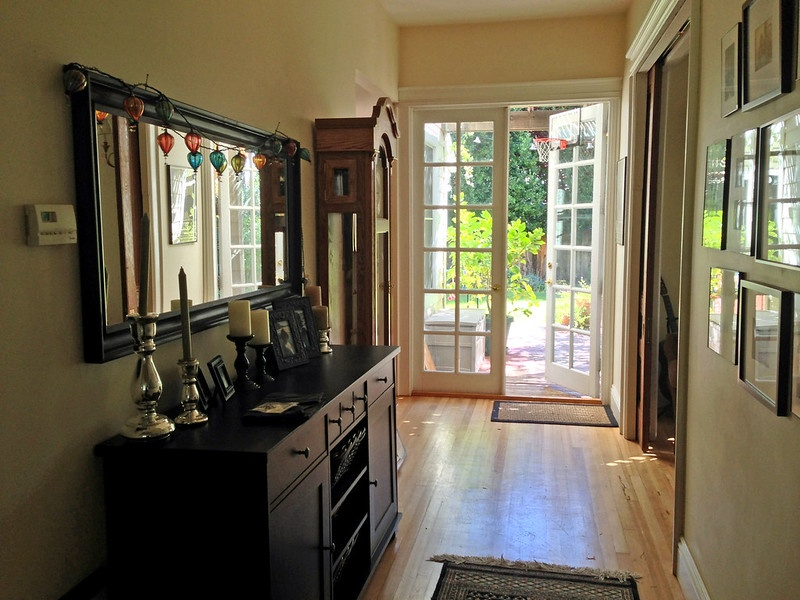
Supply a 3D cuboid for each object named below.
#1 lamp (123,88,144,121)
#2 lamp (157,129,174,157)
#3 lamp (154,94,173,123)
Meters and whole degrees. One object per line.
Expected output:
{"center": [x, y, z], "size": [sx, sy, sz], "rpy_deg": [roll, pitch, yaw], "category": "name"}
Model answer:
{"center": [-0.845, -0.616, 1.950], "size": [0.060, 0.090, 0.130], "rpy_deg": [-4, 9, -22], "category": "lamp"}
{"center": [-0.798, -0.538, 2.109], "size": [0.041, 0.087, 0.099], "rpy_deg": [2, 9, 16], "category": "lamp"}
{"center": [-0.802, -0.643, 2.087], "size": [0.056, 0.089, 0.152], "rpy_deg": [-3, 9, -19], "category": "lamp"}
